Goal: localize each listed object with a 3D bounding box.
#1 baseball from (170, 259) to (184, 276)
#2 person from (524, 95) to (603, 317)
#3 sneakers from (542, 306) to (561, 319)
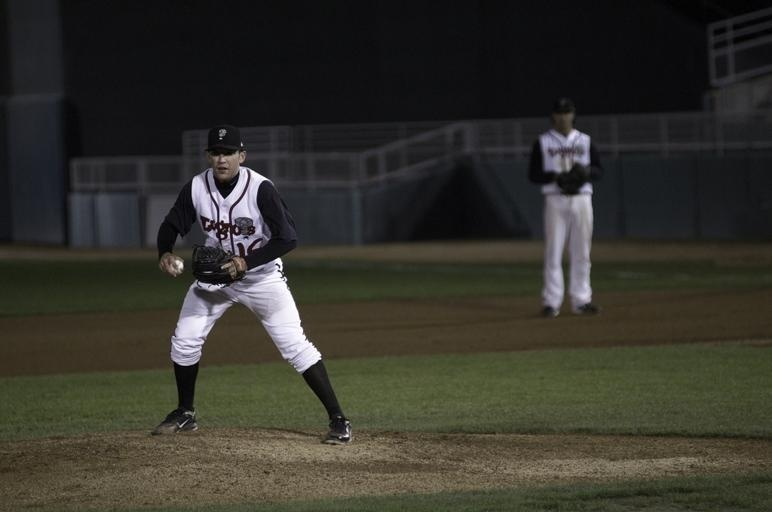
[{"bbox_3d":[-2.280,0.117,14.511,0.147,0.149,0.157,3,3,-31],"label":"baseball"},{"bbox_3d":[2.256,-0.565,16.816,0.877,2.760,0.463,0,13,6],"label":"person"},{"bbox_3d":[2.144,0.719,17.354,0.206,0.142,0.197,-14,10,11],"label":"sneakers"}]
